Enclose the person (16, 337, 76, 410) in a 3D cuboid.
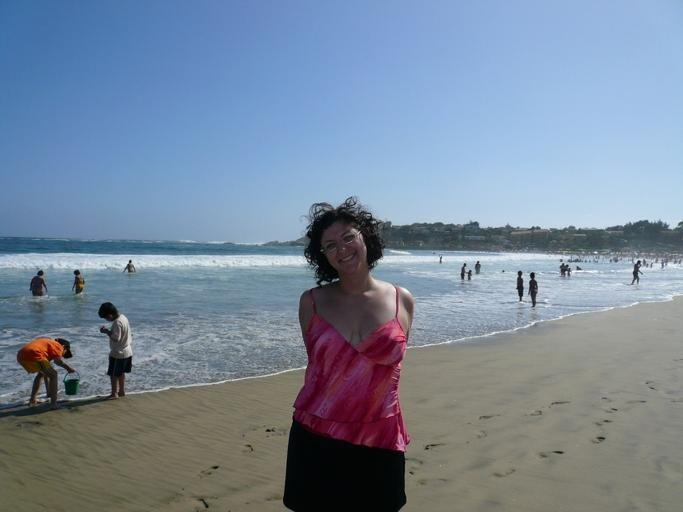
[{"bbox_3d":[-5.169,2.042,8.888,0.862,1.127,0.701,1,7,6],"label":"person"}]
